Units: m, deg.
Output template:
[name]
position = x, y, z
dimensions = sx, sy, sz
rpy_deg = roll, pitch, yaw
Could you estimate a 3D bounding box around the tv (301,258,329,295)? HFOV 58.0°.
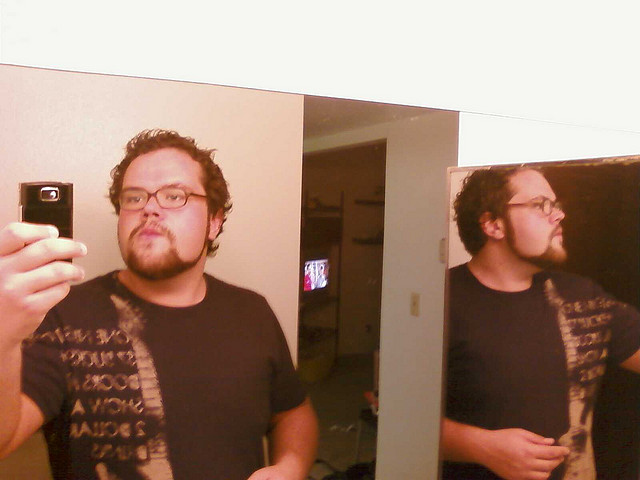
[tv]
position = -0.016, 0.130, 2.171
dimensions = 0.007, 0.130, 0.160
rpy_deg = 10, 11, 41
